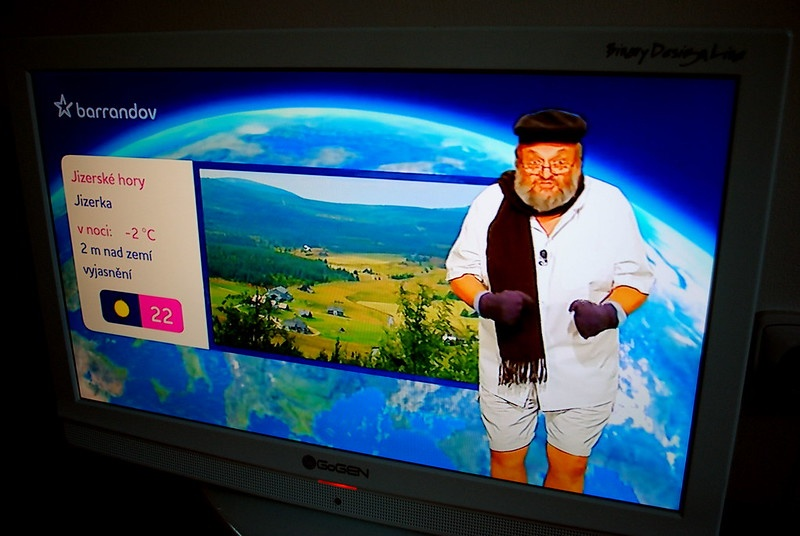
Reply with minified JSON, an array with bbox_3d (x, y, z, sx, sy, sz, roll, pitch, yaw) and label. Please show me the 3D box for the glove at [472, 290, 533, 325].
[{"bbox_3d":[0.232,0.085,1.329,0.104,0.072,0.046,8,17,4],"label":"glove"}]
